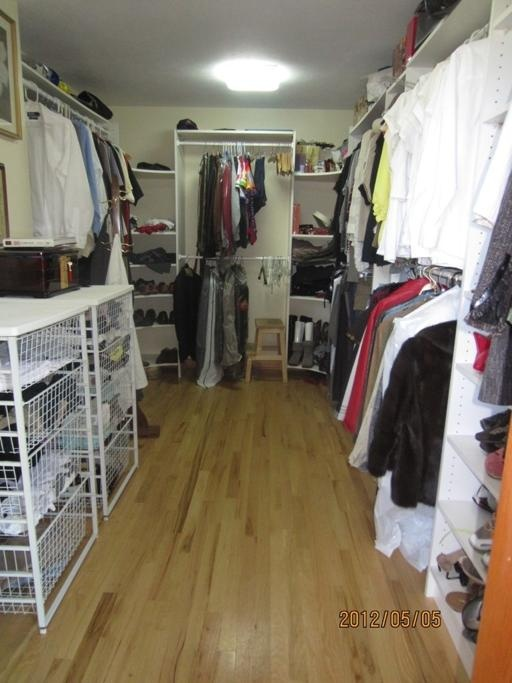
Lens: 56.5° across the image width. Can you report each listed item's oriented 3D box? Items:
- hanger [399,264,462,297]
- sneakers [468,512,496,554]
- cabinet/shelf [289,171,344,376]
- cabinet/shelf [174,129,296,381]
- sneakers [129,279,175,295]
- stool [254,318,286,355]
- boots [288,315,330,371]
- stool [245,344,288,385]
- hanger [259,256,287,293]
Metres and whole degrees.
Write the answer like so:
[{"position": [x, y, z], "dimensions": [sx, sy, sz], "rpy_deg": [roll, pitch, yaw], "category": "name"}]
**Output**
[{"position": [0.703, -0.238, 1.836], "dimensions": [0.058, 0.090, 0.215], "rpy_deg": [-9, 17, -13], "category": "hanger"}, {"position": [0.595, 0.483, 1.253], "dimensions": [0.043, 0.061, 0.133], "rpy_deg": [-3, 26, 37], "category": "sneakers"}, {"position": [0.497, -0.573, 4.174], "dimensions": [0.408, 1.703, 0.945], "rpy_deg": [1, 8, 5], "category": "cabinet/shelf"}, {"position": [-0.178, -0.831, 4.101], "dimensions": [0.957, 1.837, 1.029], "rpy_deg": [1, 8, -1], "category": "cabinet/shelf"}, {"position": [-0.848, -0.445, 3.923], "dimensions": [0.304, 0.116, 0.274], "rpy_deg": [-2, 10, -19], "category": "sneakers"}, {"position": [0.114, -0.004, 3.957], "dimensions": [0.234, 0.313, 0.285], "rpy_deg": [-3, 20, -4], "category": "stool"}, {"position": [0.413, 0.034, 4.126], "dimensions": [0.245, 0.549, 0.458], "rpy_deg": [0, -1, -5], "category": "boots"}, {"position": [0.078, 0.182, 3.980], "dimensions": [0.252, 0.328, 0.299], "rpy_deg": [0, 2, -5], "category": "stool"}, {"position": [0.150, -0.594, 4.161], "dimensions": [0.260, 0.414, 0.047], "rpy_deg": [5, 13, 12], "category": "hanger"}]
